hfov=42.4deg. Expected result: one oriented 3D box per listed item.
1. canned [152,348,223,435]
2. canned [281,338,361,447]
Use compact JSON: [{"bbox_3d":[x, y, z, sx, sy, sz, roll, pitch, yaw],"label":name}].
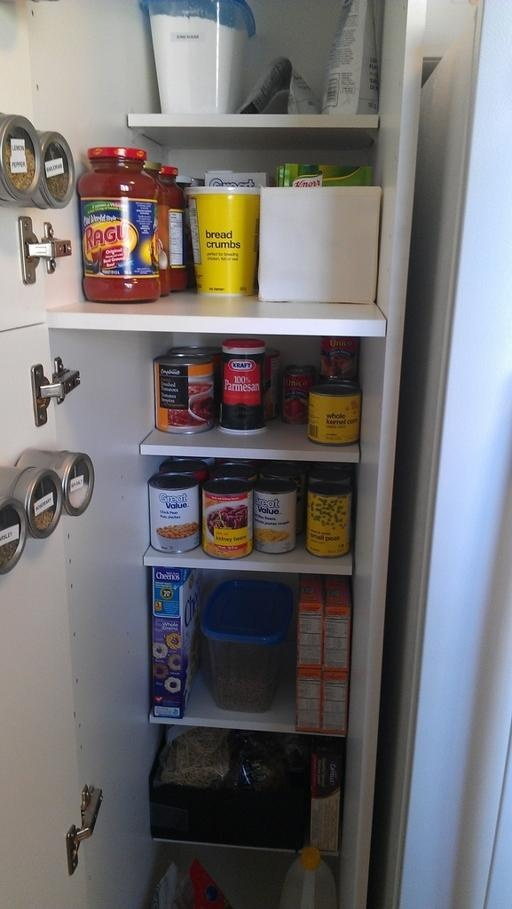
[{"bbox_3d":[-0.122,-0.106,1.145,0.087,0.123,0.097,9,21,25],"label":"canned"},{"bbox_3d":[0.122,-0.120,1.175,0.107,0.216,0.188,16,20,40],"label":"canned"}]
